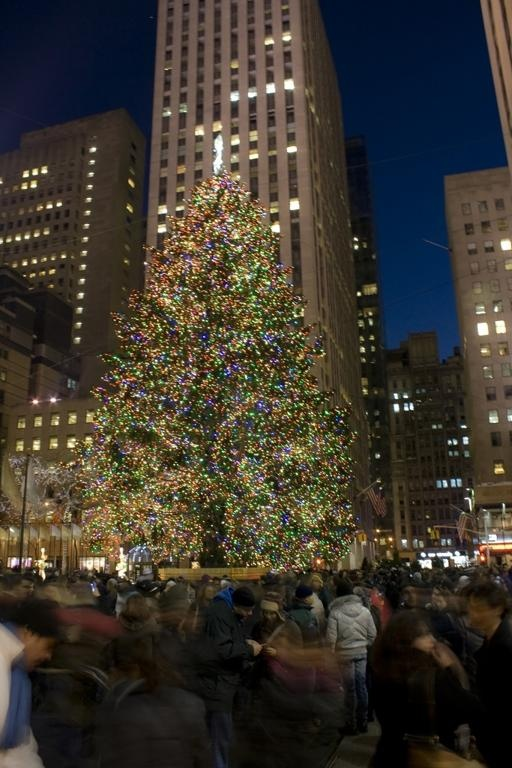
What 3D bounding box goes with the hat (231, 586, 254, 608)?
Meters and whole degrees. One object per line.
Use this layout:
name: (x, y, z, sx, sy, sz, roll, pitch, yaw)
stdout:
hat: (-0.114, 1.978, 6.682, 0.159, 0.155, 0.208, 8, -5, -20)
